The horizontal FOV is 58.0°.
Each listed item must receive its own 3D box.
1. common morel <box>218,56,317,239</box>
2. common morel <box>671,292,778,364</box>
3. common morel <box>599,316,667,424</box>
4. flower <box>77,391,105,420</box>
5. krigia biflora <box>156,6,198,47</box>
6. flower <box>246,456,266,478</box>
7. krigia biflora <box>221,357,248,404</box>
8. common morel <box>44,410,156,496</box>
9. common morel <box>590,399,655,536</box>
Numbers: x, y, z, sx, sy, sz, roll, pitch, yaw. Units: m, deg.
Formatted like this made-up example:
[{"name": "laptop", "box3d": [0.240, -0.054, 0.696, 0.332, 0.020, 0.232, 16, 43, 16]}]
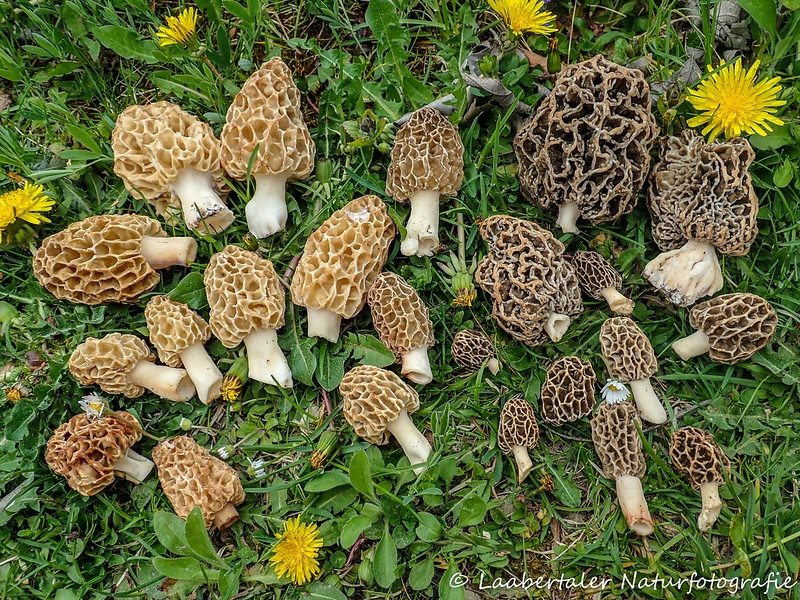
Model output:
[{"name": "common morel", "box3d": [-0.785, -0.899, 4.315, 0.588, 0.347, 0.922, -23, 79, -1]}, {"name": "common morel", "box3d": [1.839, 0.190, 4.127, 0.504, 0.243, 0.344, -21, 76, 4]}, {"name": "common morel", "box3d": [1.313, 0.387, 4.155, 0.293, 0.267, 0.668, -19, 76, -9]}, {"name": "flower", "box3d": [-1.747, 0.599, 4.065, 0.139, 0.068, 0.136, 23, 87, 22]}, {"name": "krigia biflora", "box3d": [-1.363, -1.668, 4.418, 0.177, 0.237, 0.239, 33, 103, -9]}, {"name": "flower", "box3d": [-0.848, 0.995, 4.244, 0.110, 0.044, 0.105, -4, 79, 3]}, {"name": "krigia biflora", "box3d": [-0.970, 0.469, 4.249, 0.155, 0.111, 0.266, 11, 77, -5]}, {"name": "common morel", "box3d": [-1.707, 0.880, 4.113, 0.545, 0.297, 0.484, 19, 76, -7]}, {"name": "common morel", "box3d": [1.223, 0.930, 4.109, 0.302, 0.326, 0.758, -4, 72, -8]}]
